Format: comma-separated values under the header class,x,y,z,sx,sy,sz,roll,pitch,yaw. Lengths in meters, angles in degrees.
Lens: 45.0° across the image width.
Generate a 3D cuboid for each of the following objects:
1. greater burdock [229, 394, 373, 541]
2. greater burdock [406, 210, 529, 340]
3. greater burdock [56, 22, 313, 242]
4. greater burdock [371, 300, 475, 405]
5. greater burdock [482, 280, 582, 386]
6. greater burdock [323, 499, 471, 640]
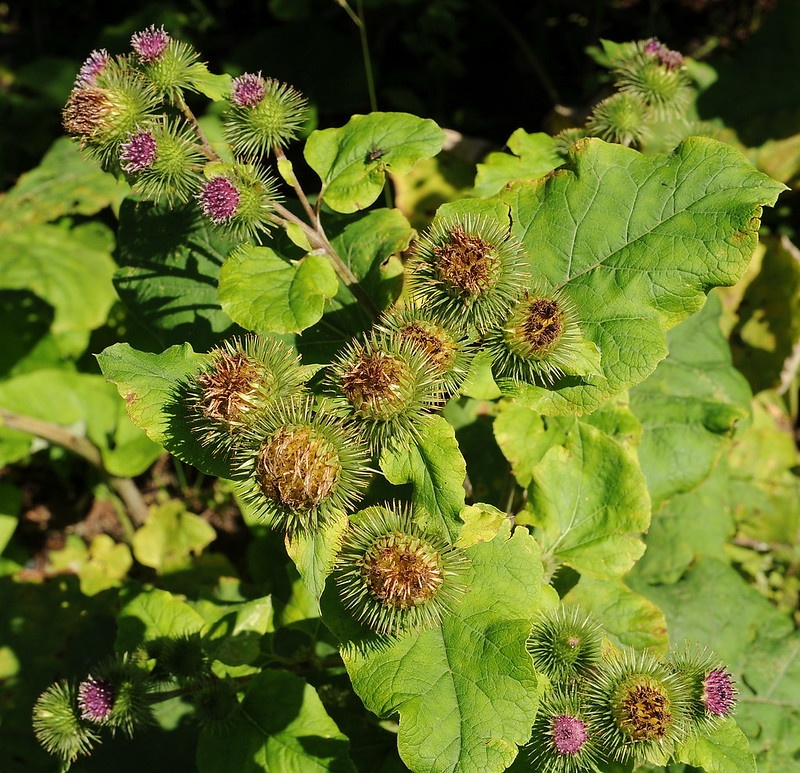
class,x,y,z,sx,sy,sz,roll,pitch,yaw
greater burdock,-0.275,0.220,2.693,0.364,0.278,0.362,-38,73,-14
greater burdock,0.190,-0.333,2.773,0.348,0.147,0.349,-4,74,0
greater burdock,-0.581,-0.764,2.934,0.738,0.307,0.578,3,73,-3
greater burdock,0.083,-0.120,2.750,0.270,0.128,0.269,-22,90,26
greater burdock,0.365,-0.167,2.859,0.290,0.179,0.287,1,94,-33
greater burdock,-0.008,0.531,2.781,0.376,0.289,0.336,32,72,12
